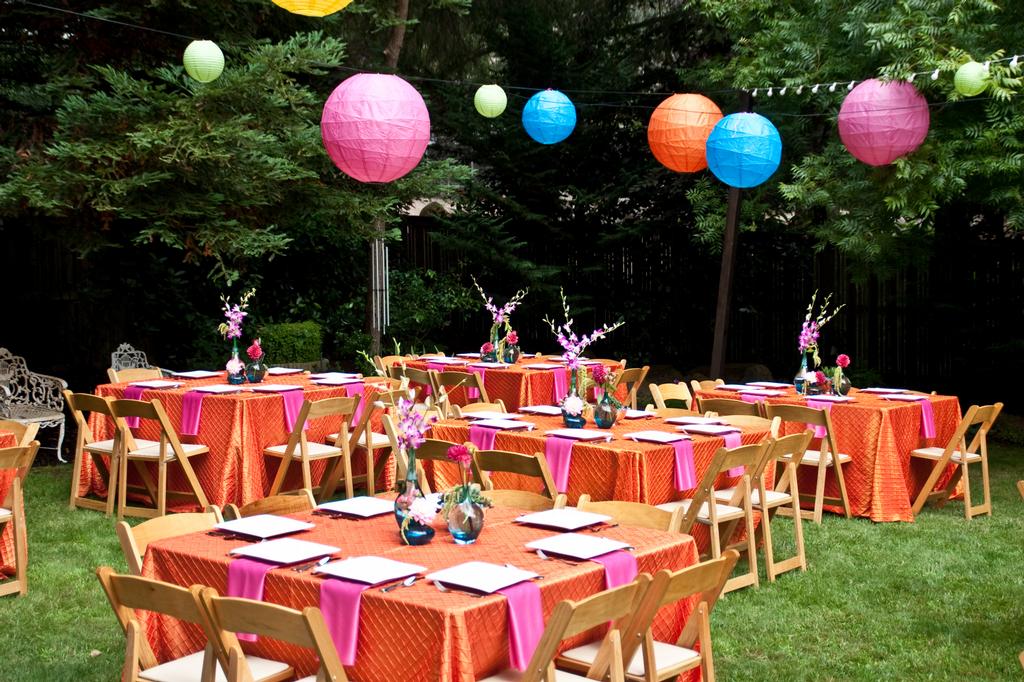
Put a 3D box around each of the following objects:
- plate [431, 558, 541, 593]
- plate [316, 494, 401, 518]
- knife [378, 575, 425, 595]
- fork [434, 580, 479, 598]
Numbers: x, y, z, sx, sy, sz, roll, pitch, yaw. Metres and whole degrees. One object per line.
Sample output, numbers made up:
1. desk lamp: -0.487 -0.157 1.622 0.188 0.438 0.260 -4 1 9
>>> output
1. plate: -0.134 1.022 3.728 0.417 0.043 0.329 -7 13 -40
2. plate: -0.855 0.904 4.648 0.405 0.027 0.248 2 10 5
3. knife: -0.474 1.039 3.654 0.229 0.013 0.092 -7 13 -40
4. fork: -0.249 1.045 3.598 0.226 0.024 0.061 6 11 24
